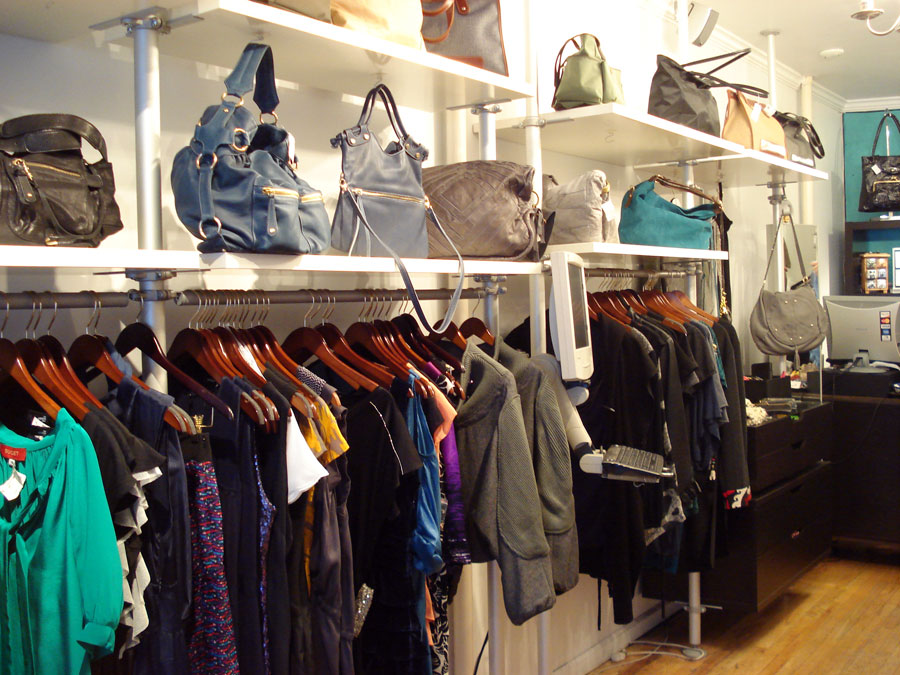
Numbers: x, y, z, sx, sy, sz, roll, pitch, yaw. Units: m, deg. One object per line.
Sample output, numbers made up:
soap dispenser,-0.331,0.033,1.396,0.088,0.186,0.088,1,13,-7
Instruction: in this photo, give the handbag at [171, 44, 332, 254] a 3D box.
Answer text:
handbag,-0.472,-0.445,1.946,0.365,0.513,0.127,-6,6,-23

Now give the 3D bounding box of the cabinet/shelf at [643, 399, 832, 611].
cabinet/shelf,1.429,0.572,4.043,0.727,1.145,1.457,-2,-2,29

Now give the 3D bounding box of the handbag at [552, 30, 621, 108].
handbag,0.498,-0.973,3.000,0.252,0.295,0.248,-2,6,12

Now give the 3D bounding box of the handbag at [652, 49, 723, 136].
handbag,0.970,-0.994,3.360,0.338,0.344,0.186,-6,6,-24

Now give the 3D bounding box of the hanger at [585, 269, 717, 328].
hanger,0.887,-0.141,3.550,0.252,0.363,0.898,3,4,38

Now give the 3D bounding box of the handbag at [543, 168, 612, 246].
handbag,0.461,-0.486,3.040,0.220,0.131,0.273,2,25,-38

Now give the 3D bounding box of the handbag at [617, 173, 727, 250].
handbag,0.907,-0.471,3.466,0.494,0.291,0.298,2,15,-39
